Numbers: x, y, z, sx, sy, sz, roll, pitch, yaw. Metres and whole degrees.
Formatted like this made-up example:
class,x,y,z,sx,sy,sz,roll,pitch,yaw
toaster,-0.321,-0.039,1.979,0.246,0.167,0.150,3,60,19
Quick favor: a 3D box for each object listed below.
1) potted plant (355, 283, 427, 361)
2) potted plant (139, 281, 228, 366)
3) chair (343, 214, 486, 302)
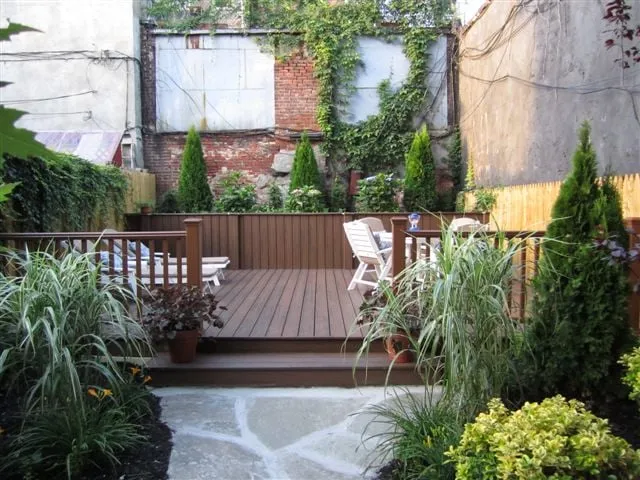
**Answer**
class,x,y,z,sx,sy,sz,roll,pitch,yaw
potted plant,0.618,0.703,5.043,0.569,0.761,0.653,-1,3,-6
potted plant,-1.257,0.755,5.570,0.682,0.669,0.614,0,6,-18
chair,1.141,0.132,7.623,1.474,0.965,0.999,0,3,-5
